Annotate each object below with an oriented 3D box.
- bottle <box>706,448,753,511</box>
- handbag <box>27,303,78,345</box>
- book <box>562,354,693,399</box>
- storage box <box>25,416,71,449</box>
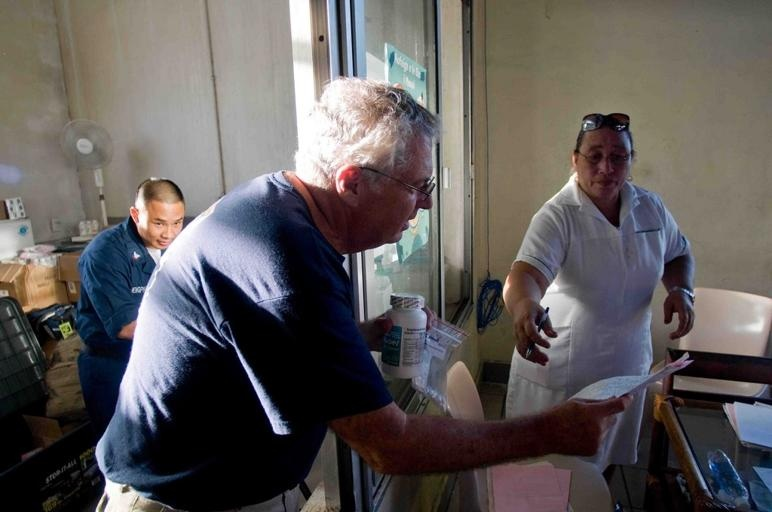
[{"bbox_3d":[1.608,1.019,2.659,0.105,0.065,0.201,0,48,-7],"label":"bottle"},{"bbox_3d":[-2.204,0.441,3.784,0.257,0.276,0.096,-18,-8,-27],"label":"handbag"},{"bbox_3d":[1.235,0.621,2.960,0.531,0.076,0.178,-41,0,40],"label":"book"},{"bbox_3d":[-2.046,1.036,3.436,0.244,0.247,0.067,16,17,9],"label":"storage box"}]
